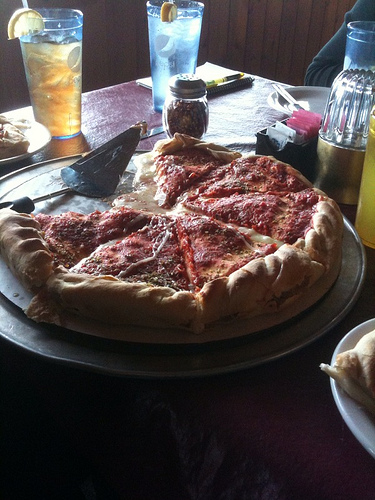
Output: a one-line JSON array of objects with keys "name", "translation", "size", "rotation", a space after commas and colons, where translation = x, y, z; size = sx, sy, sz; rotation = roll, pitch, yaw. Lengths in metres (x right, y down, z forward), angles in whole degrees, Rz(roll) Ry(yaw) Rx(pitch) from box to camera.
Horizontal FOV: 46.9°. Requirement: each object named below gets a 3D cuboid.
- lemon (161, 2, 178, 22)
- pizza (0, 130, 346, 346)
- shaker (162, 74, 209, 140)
[{"name": "lemon", "translation": [-0.039, -0.507, 0.922], "size": [0.047, 0.043, 0.045], "rotation": [7, 33, 5]}, {"name": "pizza", "translation": [-0.001, 0.003, 0.528], "size": [0.351, 0.043, 0.293], "rotation": [-3, 30, -5]}, {"name": "shaker", "translation": [0.002, -0.294, 0.903], "size": [0.099, 0.124, 0.089], "rotation": [-4, 40, -2]}]
